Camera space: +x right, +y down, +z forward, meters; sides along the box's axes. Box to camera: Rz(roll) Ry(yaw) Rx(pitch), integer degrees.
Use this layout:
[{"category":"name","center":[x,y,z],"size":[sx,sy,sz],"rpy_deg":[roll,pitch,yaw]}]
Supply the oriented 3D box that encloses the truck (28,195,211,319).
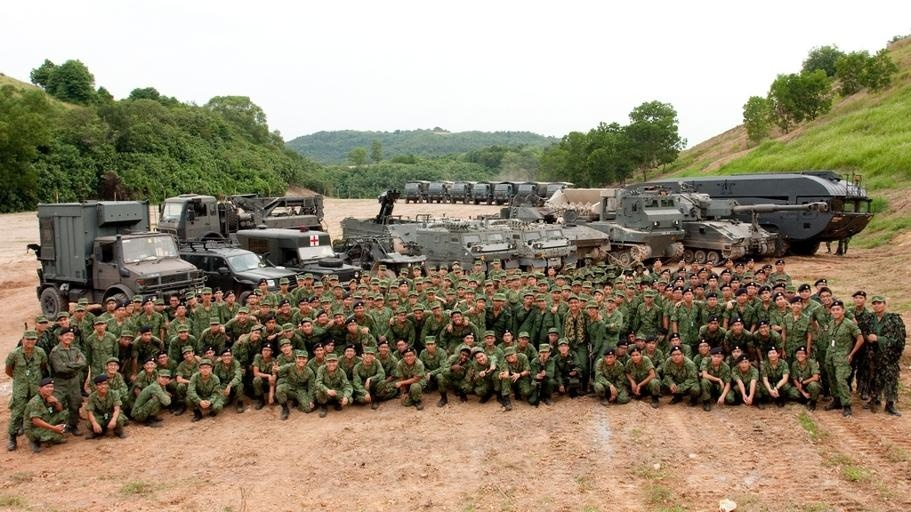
[{"category":"truck","center":[-11.785,-0.163,25.862],"size":[6.617,3.584,3.574],"rpy_deg":[1,3,30]}]

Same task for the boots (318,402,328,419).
[{"category":"boots","center":[-3.749,4.336,19.956],"size":[0.252,0.301,0.474],"rpy_deg":[-1,8,-11]}]

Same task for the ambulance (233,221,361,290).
[{"category":"ambulance","center":[-6.298,0.229,27.956],"size":[4.795,2.346,2.576],"rpy_deg":[11,15,28]}]

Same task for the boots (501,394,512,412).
[{"category":"boots","center":[1.453,4.135,20.160],"size":[0.372,0.404,0.600],"rpy_deg":[0,7,-1]}]

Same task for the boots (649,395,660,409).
[{"category":"boots","center":[5.654,4.108,19.897],"size":[0.181,0.343,0.385],"rpy_deg":[-6,3,17]}]

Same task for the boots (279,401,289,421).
[{"category":"boots","center":[-4.826,4.354,19.927],"size":[0.250,0.379,0.560],"rpy_deg":[-1,8,-14]}]

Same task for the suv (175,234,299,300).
[{"category":"suv","center":[-8.028,0.342,25.873],"size":[4.133,1.691,2.208],"rpy_deg":[3,8,24]}]

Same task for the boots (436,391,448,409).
[{"category":"boots","center":[-0.363,4.104,20.428],"size":[0.297,0.375,0.593],"rpy_deg":[0,7,-3]}]
